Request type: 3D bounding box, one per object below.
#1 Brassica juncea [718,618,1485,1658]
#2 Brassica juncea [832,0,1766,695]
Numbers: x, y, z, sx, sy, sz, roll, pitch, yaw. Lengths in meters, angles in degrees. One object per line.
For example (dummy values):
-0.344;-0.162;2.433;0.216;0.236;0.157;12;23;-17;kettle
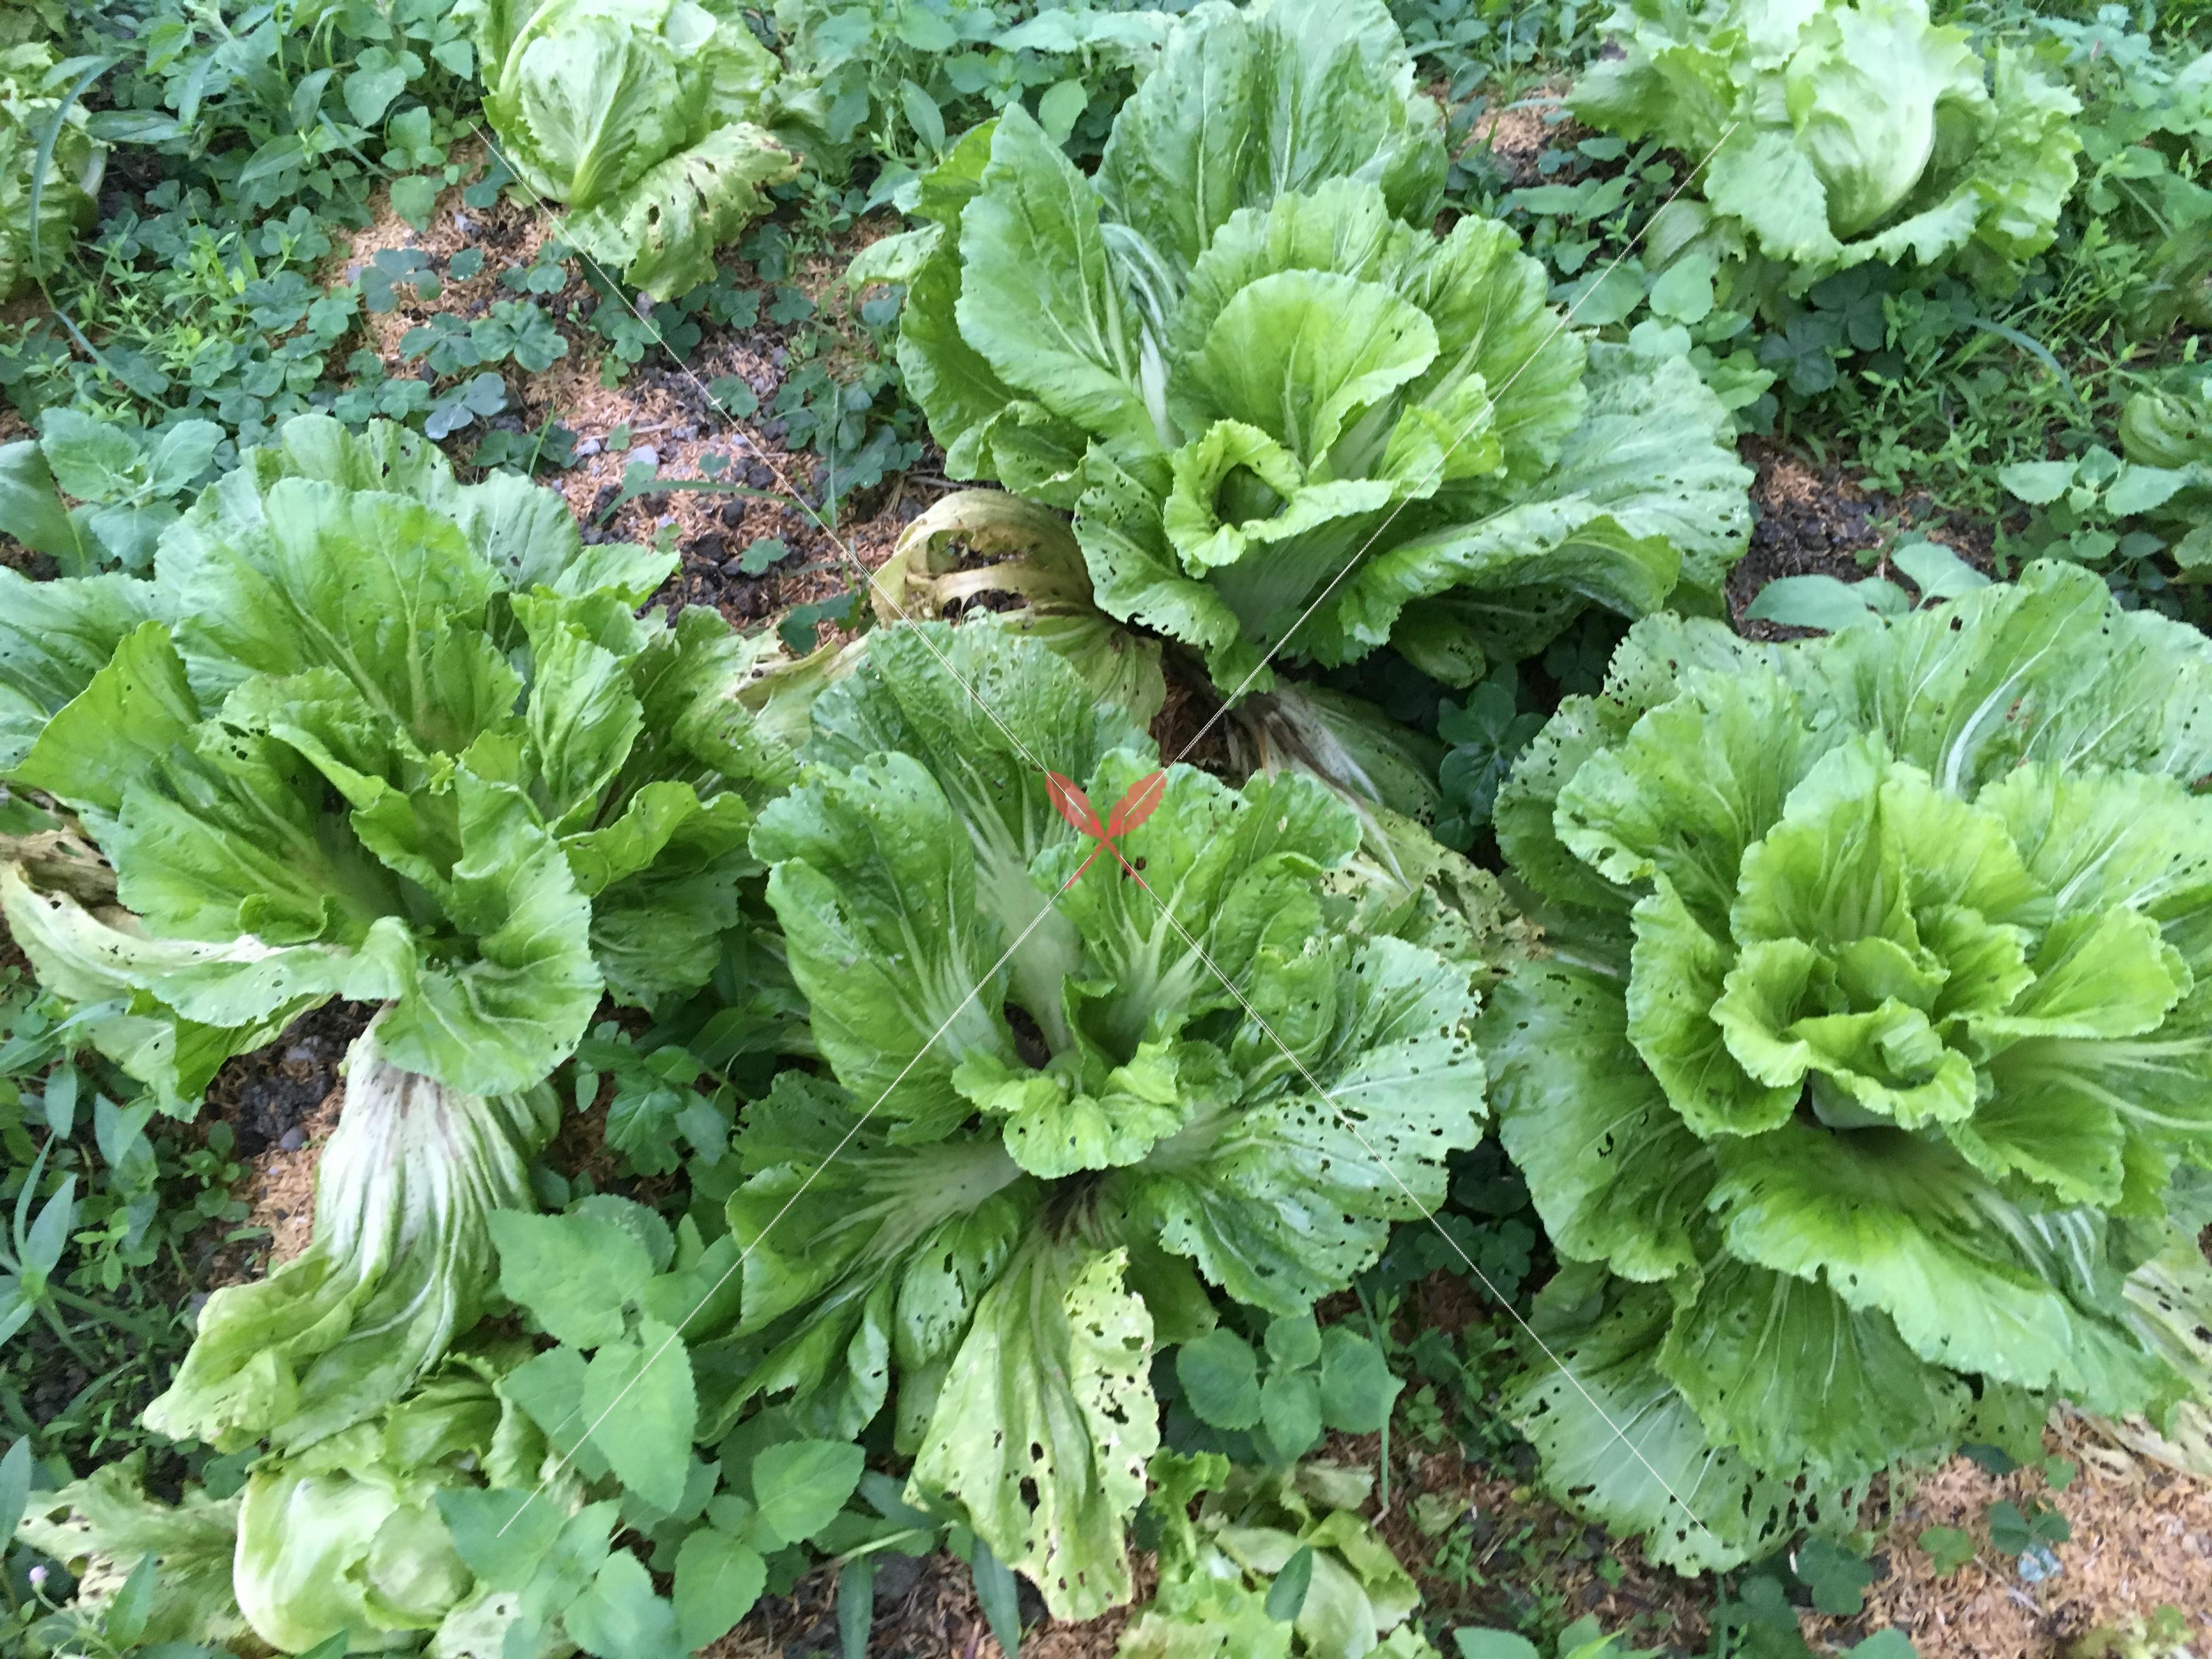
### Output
0.021;0.405;3.655;1.417;0.788;1.740;22;99;5;Brassica juncea
0.305;-0.737;4.263;1.585;0.785;1.569;-37;78;-10;Brassica juncea
